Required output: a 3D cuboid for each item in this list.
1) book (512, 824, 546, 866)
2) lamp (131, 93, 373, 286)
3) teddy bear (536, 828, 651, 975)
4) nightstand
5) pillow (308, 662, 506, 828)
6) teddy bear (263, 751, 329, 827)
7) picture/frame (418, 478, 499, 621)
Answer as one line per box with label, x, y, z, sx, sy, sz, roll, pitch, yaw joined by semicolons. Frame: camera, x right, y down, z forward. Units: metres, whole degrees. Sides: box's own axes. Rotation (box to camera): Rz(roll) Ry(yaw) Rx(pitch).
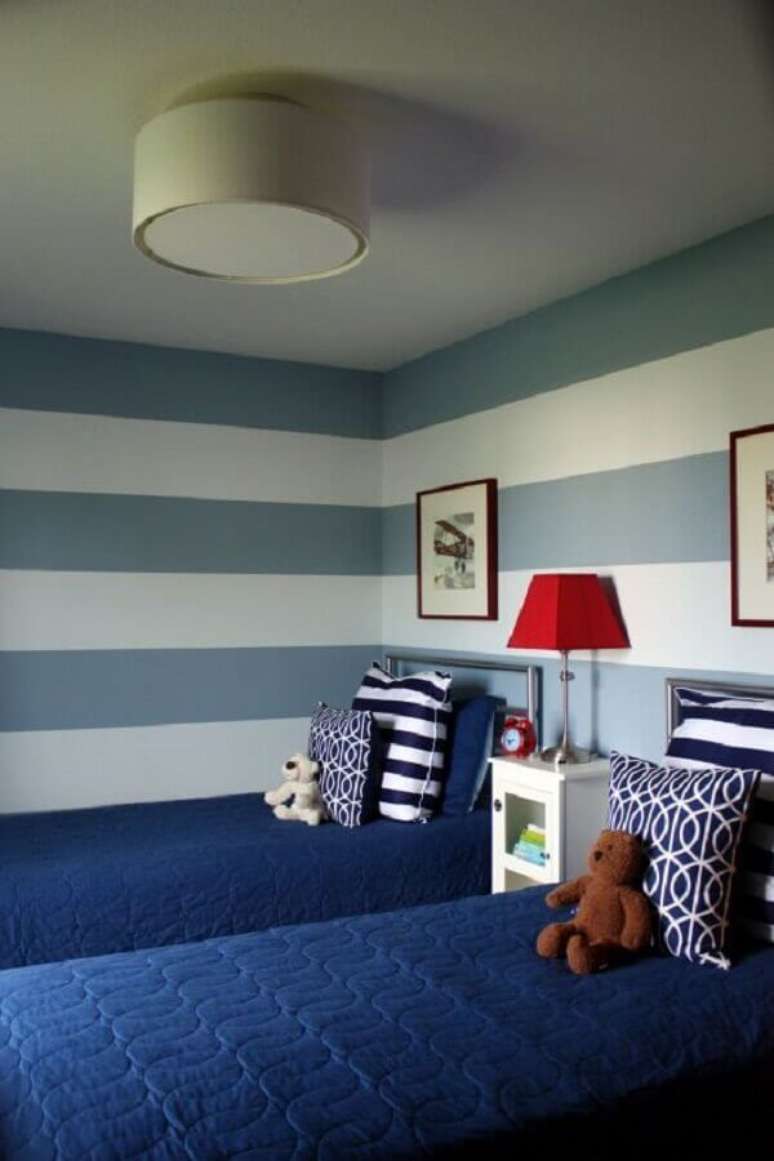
book;0.466;0.842;2.671;0.084;0.111;0.037;4;3;38
lamp;-0.317;-0.878;1.951;0.541;0.223;0.525;0;-4;-8
teddy bear;0.441;0.676;1.782;0.223;0.275;0.232;2;-1;21
nightstand;0.561;0.896;2.757;0.370;0.598;0.358;2;-3;-28
pillow;0.106;0.661;3.156;0.568;0.586;0.177;1;-25;44
teddy bear;-0.357;0.795;3.140;0.211;0.315;0.308;4;-6;-41
picture/frame;0.326;-0.133;3.628;0.073;0.742;0.628;2;-2;-31
